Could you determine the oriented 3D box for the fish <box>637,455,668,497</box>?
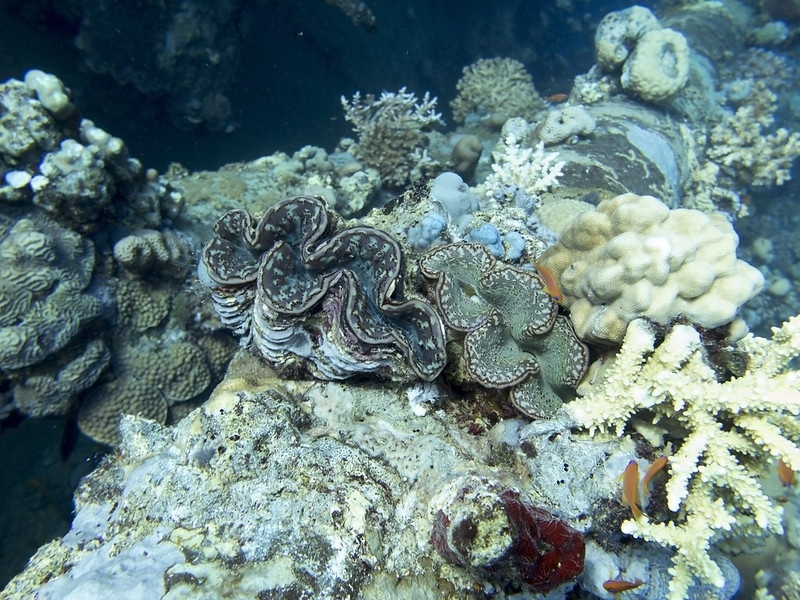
[{"bbox_3d":[2.495,1.741,7.899,0.199,0.100,0.426,40,101,37],"label":"fish"}]

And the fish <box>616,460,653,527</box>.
[{"bbox_3d":[2.318,1.886,7.914,0.224,0.181,0.571,-3,79,0],"label":"fish"}]

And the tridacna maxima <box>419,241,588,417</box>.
[{"bbox_3d":[1.187,0.233,8.669,0.591,2.291,1.442,-27,64,18],"label":"tridacna maxima"}]
